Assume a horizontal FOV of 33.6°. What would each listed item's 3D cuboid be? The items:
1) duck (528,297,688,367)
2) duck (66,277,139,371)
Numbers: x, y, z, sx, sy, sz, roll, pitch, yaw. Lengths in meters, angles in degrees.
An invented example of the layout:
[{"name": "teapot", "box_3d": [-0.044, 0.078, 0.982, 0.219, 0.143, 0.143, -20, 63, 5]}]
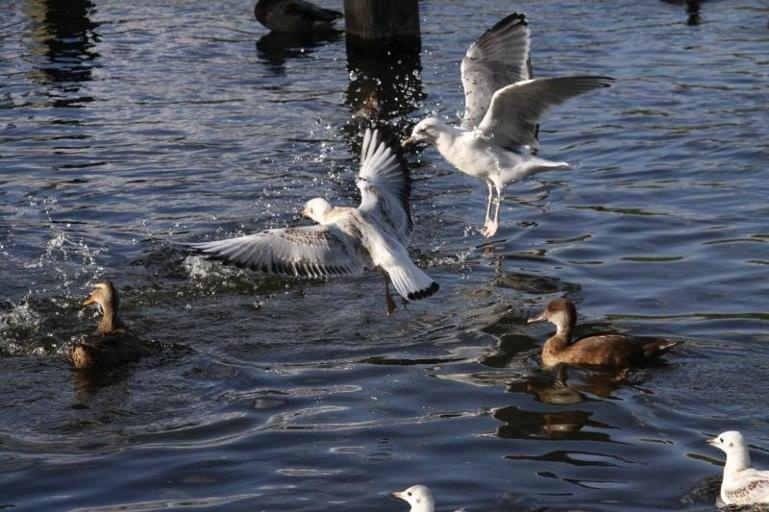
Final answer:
[{"name": "duck", "box_3d": [3.149, 0.987, 17.743, 2.270, 0.895, 1.446, -1, 19, -2]}, {"name": "duck", "box_3d": [-3.951, 0.953, 17.877, 0.969, 1.083, 1.166, -3, 14, -10]}]
